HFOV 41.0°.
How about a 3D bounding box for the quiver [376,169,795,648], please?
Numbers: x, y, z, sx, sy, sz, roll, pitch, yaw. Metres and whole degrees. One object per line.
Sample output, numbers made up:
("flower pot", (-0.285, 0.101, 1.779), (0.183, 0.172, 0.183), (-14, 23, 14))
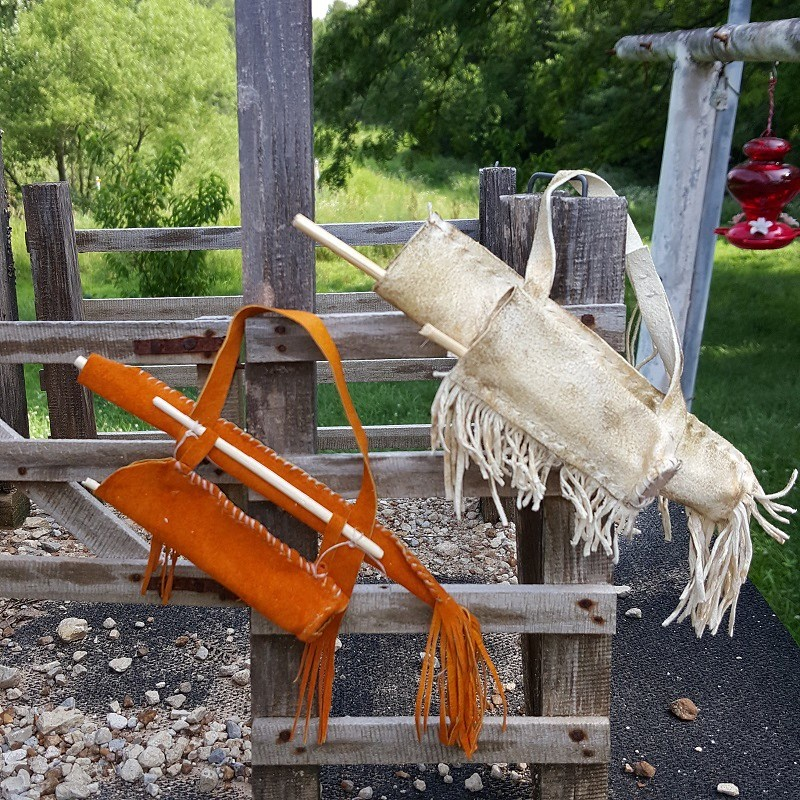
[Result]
("quiver", (0.375, 0.050, 2.234), (0.834, 1.027, 0.376), (-1, 16, -3))

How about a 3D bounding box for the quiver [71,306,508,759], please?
("quiver", (-0.291, 0.374, 2.609), (1.032, 0.874, 0.270), (33, 31, 11))
